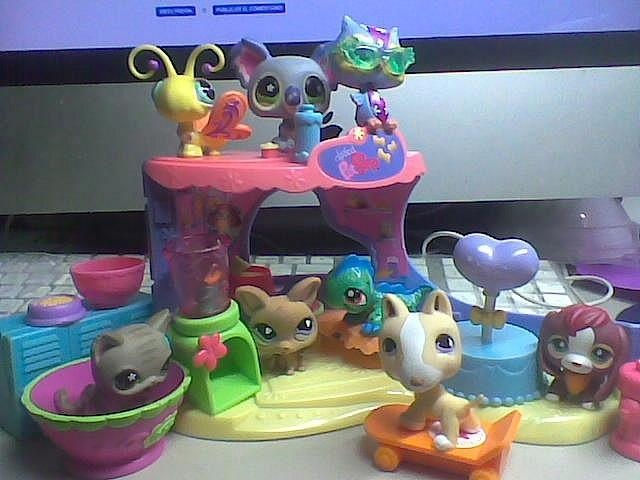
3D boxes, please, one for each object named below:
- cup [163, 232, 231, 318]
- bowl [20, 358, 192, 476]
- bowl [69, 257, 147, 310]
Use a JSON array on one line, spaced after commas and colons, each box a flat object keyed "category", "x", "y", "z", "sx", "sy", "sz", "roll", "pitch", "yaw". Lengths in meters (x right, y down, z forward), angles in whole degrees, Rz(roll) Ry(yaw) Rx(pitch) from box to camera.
[{"category": "cup", "x": -0.340, "y": 0.091, "z": 1.399, "sx": 0.204, "sy": 0.237, "sz": 0.212, "roll": -6, "pitch": 1, "yaw": 0}, {"category": "bowl", "x": -0.539, "y": 0.463, "z": 1.214, "sx": 0.392, "sy": 0.207, "sz": 0.242, "roll": 1, "pitch": 19, "yaw": 4}, {"category": "bowl", "x": -0.655, "y": 0.136, "z": 1.461, "sx": 0.207, "sy": 0.148, "sz": 0.217, "roll": -1, "pitch": 7, "yaw": 0}]
